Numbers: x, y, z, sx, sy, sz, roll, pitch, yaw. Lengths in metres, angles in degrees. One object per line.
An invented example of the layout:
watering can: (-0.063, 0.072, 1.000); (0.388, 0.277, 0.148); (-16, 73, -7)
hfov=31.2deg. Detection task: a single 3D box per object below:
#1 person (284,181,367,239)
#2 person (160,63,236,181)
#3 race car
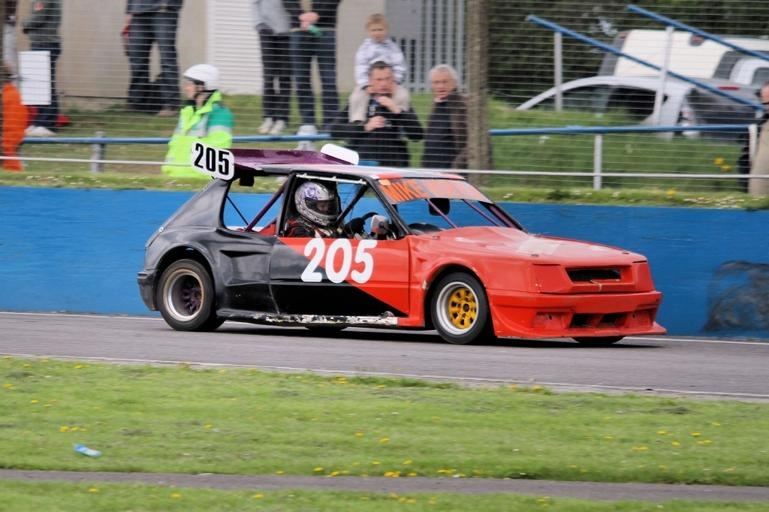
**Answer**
person: (-1.006, -0.594, 15.745); (0.933, 0.490, 0.567); (3, 3, -19)
person: (-2.501, -1.645, 17.252); (1.693, 1.297, 0.794); (5, -4, 5)
race car: (0.118, -0.137, 15.333); (5.388, 2.152, 1.460); (2, 7, 22)
